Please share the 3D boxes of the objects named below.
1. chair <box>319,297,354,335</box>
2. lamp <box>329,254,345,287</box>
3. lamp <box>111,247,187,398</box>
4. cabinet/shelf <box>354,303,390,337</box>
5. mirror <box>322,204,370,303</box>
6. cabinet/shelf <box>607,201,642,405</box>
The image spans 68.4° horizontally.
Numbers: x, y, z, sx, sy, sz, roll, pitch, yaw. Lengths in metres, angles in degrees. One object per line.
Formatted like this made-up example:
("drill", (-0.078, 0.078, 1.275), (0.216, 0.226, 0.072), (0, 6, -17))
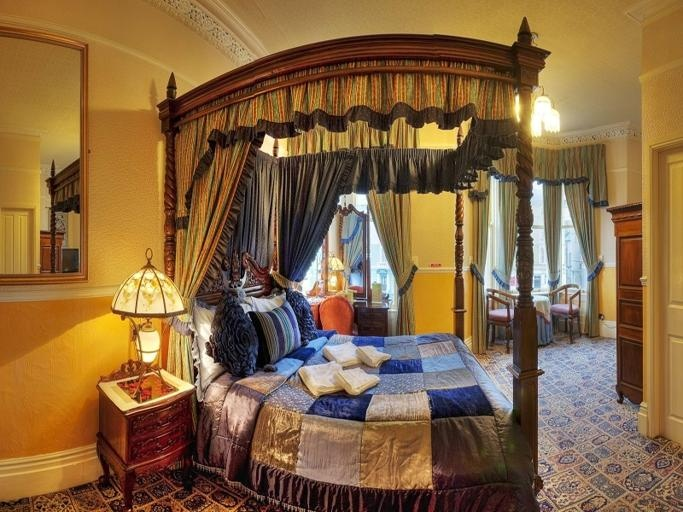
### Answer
("chair", (-0.037, 0.762, 6.484), (0.356, 0.770, 0.436), (0, -5, 16))
("lamp", (-0.129, 0.234, 7.173), (0.279, 0.494, 0.280), (3, 5, 39))
("lamp", (-1.674, 0.616, 4.390), (0.504, 1.331, 0.573), (8, 8, 28))
("cabinet/shelf", (0.408, 0.774, 6.698), (0.441, 0.527, 0.352), (0, -3, 3))
("mirror", (0.050, 0.028, 7.126), (0.658, 1.756, 0.085), (0, 36, 1))
("cabinet/shelf", (3.112, 0.522, 5.507), (0.154, 2.171, 0.386), (-2, 2, -23))
